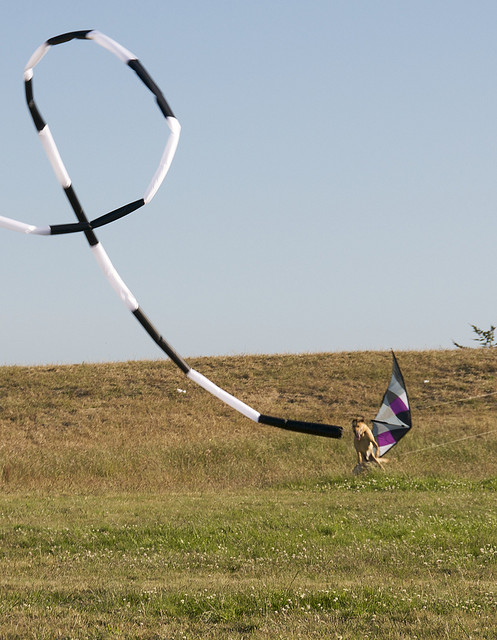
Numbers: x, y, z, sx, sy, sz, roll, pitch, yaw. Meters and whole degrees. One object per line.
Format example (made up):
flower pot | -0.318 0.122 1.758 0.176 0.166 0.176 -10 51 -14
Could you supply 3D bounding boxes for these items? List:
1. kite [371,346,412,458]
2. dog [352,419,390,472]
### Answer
kite | 4.008 2.472 38.375 0.562 2.785 1.354 -3 4 -36
dog | 3.282 3.380 37.620 0.684 1.555 0.677 -5 2 34
